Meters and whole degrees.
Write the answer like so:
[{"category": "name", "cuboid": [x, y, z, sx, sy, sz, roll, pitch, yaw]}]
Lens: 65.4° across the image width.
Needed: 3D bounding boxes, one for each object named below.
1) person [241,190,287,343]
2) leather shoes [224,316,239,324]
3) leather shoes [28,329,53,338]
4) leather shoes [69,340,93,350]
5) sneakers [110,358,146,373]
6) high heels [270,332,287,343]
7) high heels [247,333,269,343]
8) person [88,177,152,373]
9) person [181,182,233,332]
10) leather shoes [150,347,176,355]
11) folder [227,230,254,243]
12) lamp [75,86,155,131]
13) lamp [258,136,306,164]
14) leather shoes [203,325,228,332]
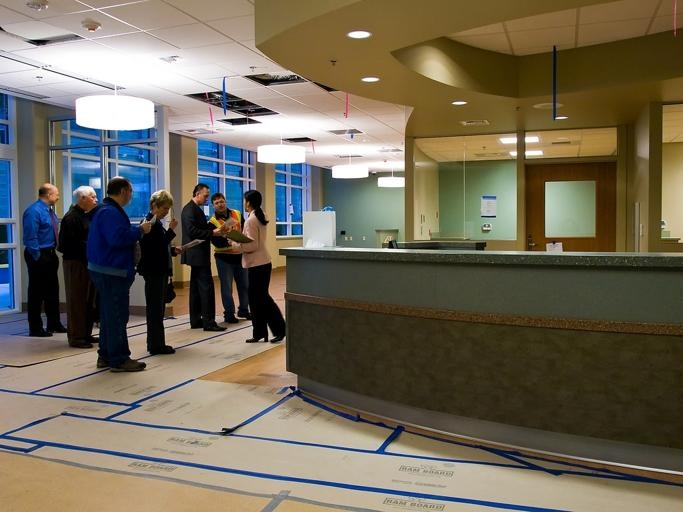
[{"category": "person", "cuboid": [-0.948, 0.144, 6.342, 0.481, 1.835, 0.680, -2, 7, -9]}, {"category": "leather shoes", "cuboid": [-1.607, 0.925, 7.786, 0.185, 0.077, 0.092, -1, -1, 12]}, {"category": "leather shoes", "cuboid": [-3.977, 0.984, 7.016, 0.277, 0.118, 0.207, -4, 7, -25]}, {"category": "leather shoes", "cuboid": [-3.115, 1.050, 6.345, 0.282, 0.117, 0.111, 1, 0, -3]}, {"category": "sneakers", "cuboid": [-2.145, 1.084, 5.381, 0.338, 0.149, 0.133, -1, -1, -10]}, {"category": "high heels", "cuboid": [-0.765, 0.988, 6.411, 0.231, 0.094, 0.077, 5, -5, -17]}, {"category": "high heels", "cuboid": [-1.034, 0.981, 6.460, 0.325, 0.135, 0.109, 5, -4, -5]}, {"category": "person", "cuboid": [-2.216, 0.187, 5.349, 0.606, 1.929, 0.431, -4, 7, -20]}, {"category": "person", "cuboid": [-1.844, 0.036, 7.154, 0.582, 1.996, 0.992, -3, 7, -17]}, {"category": "leather shoes", "cuboid": [-2.025, 1.063, 6.013, 0.185, 0.059, 0.112, -4, 2, -12]}, {"category": "folder", "cuboid": [-1.146, -0.220, 6.038, 0.271, 0.164, 0.336, -2, 7, -9]}, {"category": "lamp", "cuboid": [-2.814, -1.776, 6.696, 0.600, 0.668, 0.604, 2, 6, 18]}, {"category": "lamp", "cuboid": [-0.988, -1.794, 9.545, 0.610, 0.285, 0.617, 1, 2, 18]}, {"category": "leather shoes", "cuboid": [-1.705, 0.972, 7.228, 0.336, 0.140, 0.110, -2, -3, -2]}]
